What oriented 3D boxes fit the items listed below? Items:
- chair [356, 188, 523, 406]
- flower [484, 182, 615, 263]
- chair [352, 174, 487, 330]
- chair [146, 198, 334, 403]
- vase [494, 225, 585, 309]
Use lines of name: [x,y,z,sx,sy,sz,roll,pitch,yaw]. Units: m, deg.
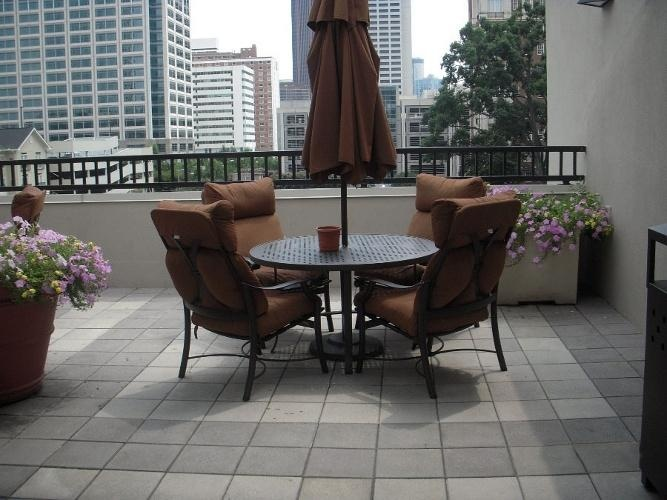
chair: [0.647,0.205,3.962,0.773,1.189,1.052,-10,12,-34]
flower: [1.925,-0.279,5.236,0.815,0.501,0.845,18,42,27]
chair: [0.631,-0.113,4.693,0.898,1.170,0.829,-2,8,1]
chair: [-0.613,0.258,4.000,0.820,1.166,1.123,4,5,36]
vase: [1.765,0.196,5.362,0.748,0.597,0.518,0,1,6]
